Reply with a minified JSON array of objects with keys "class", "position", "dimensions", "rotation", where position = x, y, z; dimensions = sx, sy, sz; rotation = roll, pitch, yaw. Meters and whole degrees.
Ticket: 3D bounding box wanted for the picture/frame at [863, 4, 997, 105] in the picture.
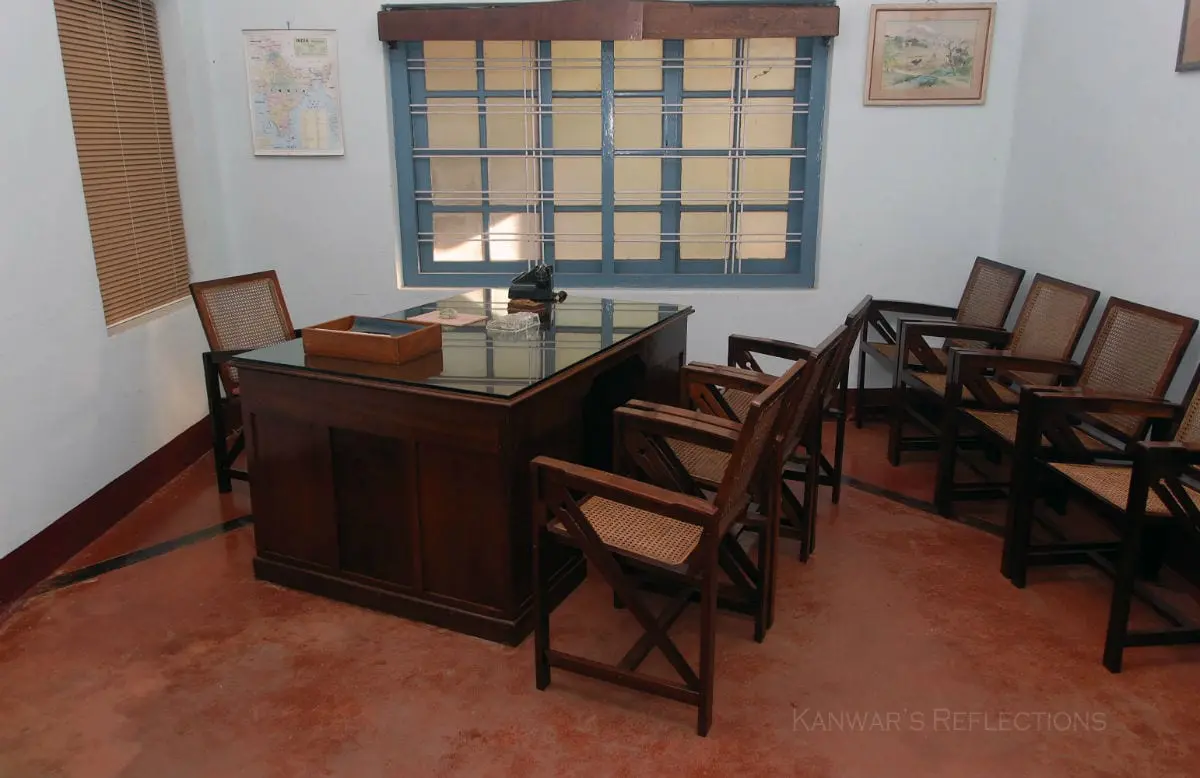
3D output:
[{"class":"picture/frame","position":[2.578,-2.625,6.154],"dimensions":[0.797,0.625,0.035],"rotation":[0,12,1]}]
